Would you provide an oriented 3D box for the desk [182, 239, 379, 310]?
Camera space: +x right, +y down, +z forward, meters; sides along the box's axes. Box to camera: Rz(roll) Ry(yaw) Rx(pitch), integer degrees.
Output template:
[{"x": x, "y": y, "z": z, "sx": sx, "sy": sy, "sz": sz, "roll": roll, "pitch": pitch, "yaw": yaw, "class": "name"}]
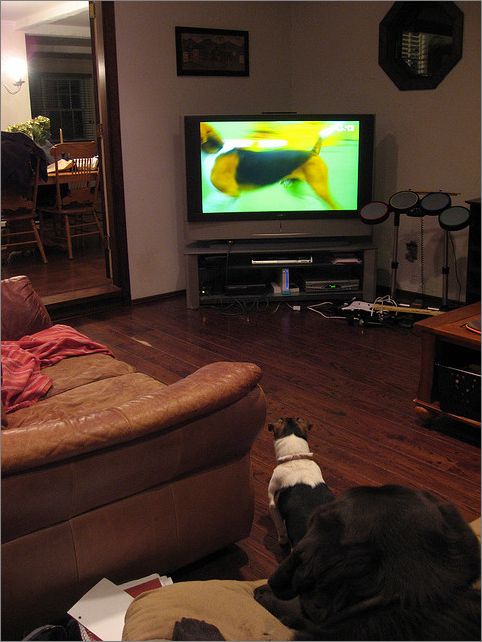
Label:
[{"x": 0.350, "y": -0.419, "z": 4.590, "sx": 1.690, "sy": 0.589, "sz": 0.556, "roll": -4, "pitch": 14, "yaw": -9, "class": "desk"}]
